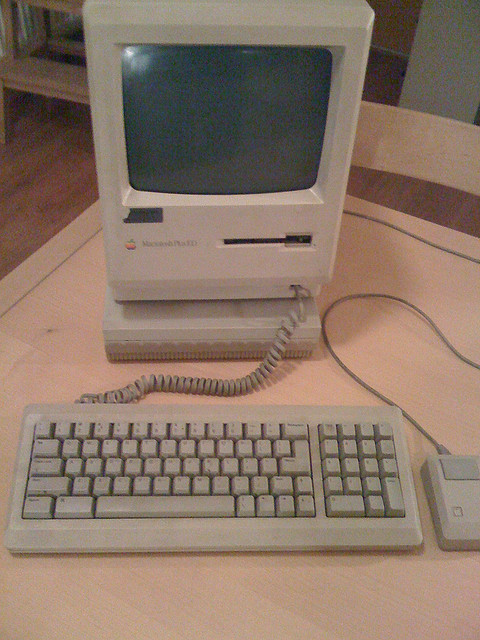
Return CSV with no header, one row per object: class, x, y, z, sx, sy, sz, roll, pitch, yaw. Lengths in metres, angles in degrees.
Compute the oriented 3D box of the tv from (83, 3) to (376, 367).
tv,-0.020,-0.127,0.666,0.309,0.339,0.331,3,-13,-5
